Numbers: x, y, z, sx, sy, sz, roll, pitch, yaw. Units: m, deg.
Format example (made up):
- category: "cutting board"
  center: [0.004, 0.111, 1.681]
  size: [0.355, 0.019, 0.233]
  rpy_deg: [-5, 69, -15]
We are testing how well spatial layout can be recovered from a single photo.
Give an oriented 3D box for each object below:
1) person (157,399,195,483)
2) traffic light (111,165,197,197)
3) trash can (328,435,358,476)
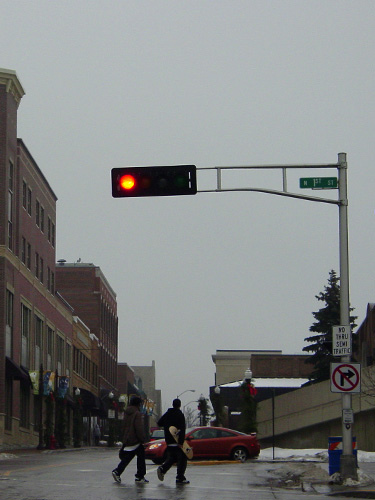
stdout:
- category: "person"
  center: [-0.327, 4.632, 32.132]
  size: [0.552, 2.128, 0.838]
  rpy_deg: [1, 1, 14]
- category: "traffic light"
  center: [-0.822, -1.647, 31.960]
  size: [2.008, 0.811, 0.346]
  rpy_deg: [-3, -11, -1]
- category: "trash can"
  center: [3.933, 5.258, 34.011]
  size: [0.717, 1.071, 1.830]
  rpy_deg: [-4, -13, 5]
